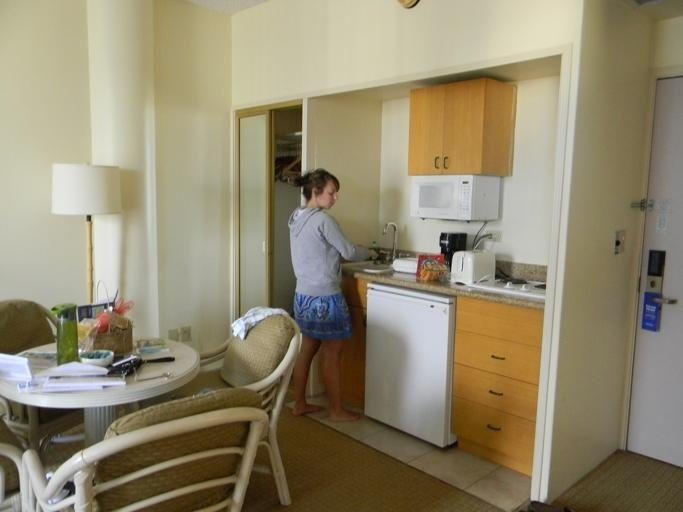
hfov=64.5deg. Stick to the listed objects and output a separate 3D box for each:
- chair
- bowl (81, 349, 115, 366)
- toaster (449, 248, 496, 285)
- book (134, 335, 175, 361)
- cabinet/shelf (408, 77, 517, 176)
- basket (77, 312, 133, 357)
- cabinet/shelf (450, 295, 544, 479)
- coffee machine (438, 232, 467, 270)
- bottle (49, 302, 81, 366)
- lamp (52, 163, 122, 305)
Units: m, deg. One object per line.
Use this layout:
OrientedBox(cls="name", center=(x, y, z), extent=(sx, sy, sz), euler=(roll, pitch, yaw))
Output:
OrientedBox(cls="chair", center=(-1.203, 0.656, 3.060), extent=(1.276, 0.624, 1.326), euler=(-2, 4, -11))
OrientedBox(cls="bowl", center=(-1.219, 0.517, 2.717), extent=(0.153, 0.056, 0.140), euler=(1, 15, 0))
OrientedBox(cls="toaster", center=(0.909, 0.079, 3.708), extent=(0.188, 0.243, 0.325), euler=(8, 11, 44))
OrientedBox(cls="book", center=(-1.054, 0.525, 3.056), extent=(0.154, 0.060, 0.207), euler=(0, 5, -21))
OrientedBox(cls="cabinet/shelf", center=(0.853, -0.885, 3.906), extent=(0.380, 0.651, 0.698), euler=(-6, 11, -37))
OrientedBox(cls="basket", center=(-1.200, 0.407, 2.816), extent=(0.217, 0.244, 0.234), euler=(3, 2, 38))
OrientedBox(cls="cabinet/shelf", center=(1.136, 0.795, 3.578), extent=(0.633, 1.106, 0.634), euler=(-8, 12, -38))
OrientedBox(cls="coffee machine", center=(0.818, -0.040, 4.006), extent=(0.225, 0.355, 0.195), euler=(0, 6, 0))
OrientedBox(cls="bottle", center=(-1.362, 0.384, 2.690), extent=(0.116, 0.302, 0.191), euler=(-7, 16, -29))
OrientedBox(cls="lamp", center=(-1.777, -0.149, 3.902), extent=(0.400, 1.035, 0.417), euler=(-2, 14, -9))
